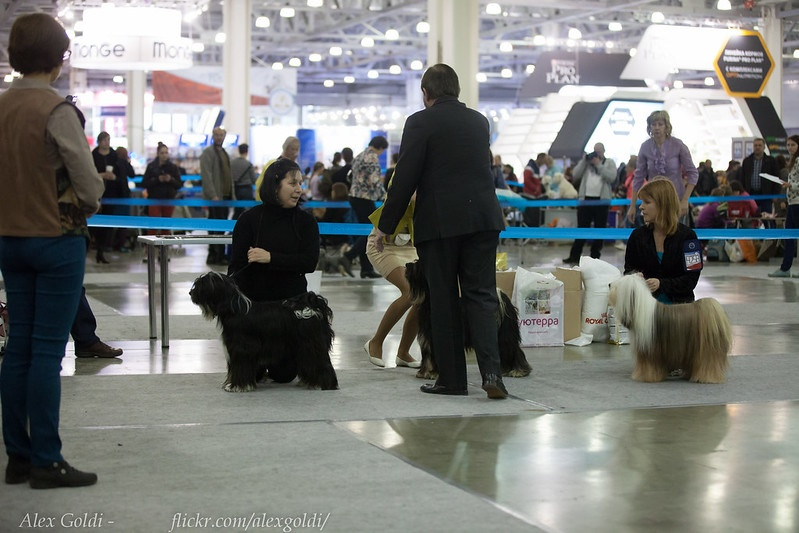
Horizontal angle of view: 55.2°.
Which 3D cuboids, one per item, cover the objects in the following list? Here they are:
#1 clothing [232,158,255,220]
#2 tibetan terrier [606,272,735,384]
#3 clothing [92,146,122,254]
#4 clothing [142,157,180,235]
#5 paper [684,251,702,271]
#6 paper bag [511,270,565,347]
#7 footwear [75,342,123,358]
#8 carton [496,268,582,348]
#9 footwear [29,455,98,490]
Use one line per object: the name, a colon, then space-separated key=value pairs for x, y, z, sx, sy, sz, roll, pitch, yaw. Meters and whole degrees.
clothing: x=-2.935 y=-1.264 z=14.215 sx=0.512 sy=1.408 sz=0.475 roll=-2 pitch=-3 yaw=-7
tibetan terrier: x=1.889 y=0.471 z=5.450 sx=0.869 sy=0.685 sz=0.485 roll=4 pitch=9 yaw=15
clothing: x=-5.362 y=-1.200 z=13.717 sx=0.615 sy=2.398 sz=0.659 roll=2 pitch=-20 yaw=-18
clothing: x=-4.421 y=-1.241 z=14.220 sx=0.697 sy=1.842 sz=0.575 roll=0 pitch=0 yaw=-36
paper: x=2.157 y=-0.045 z=5.657 sx=0.147 sy=0.191 sz=0.021 roll=0 pitch=-1 yaw=-1
paper bag: x=1.267 y=0.366 z=6.643 sx=0.518 sy=0.624 sz=0.462 roll=-1 pitch=-6 yaw=17
footwear: x=-2.359 y=0.642 z=6.051 sx=0.393 sy=0.157 sz=0.139 roll=-2 pitch=0 yaw=-7
carton: x=1.317 y=0.330 z=6.690 sx=0.713 sy=0.645 sz=0.437 roll=2 pitch=-3 yaw=24
footwear: x=-1.523 y=0.943 z=3.520 sx=0.324 sy=0.141 sz=0.114 roll=0 pitch=0 yaw=-14
